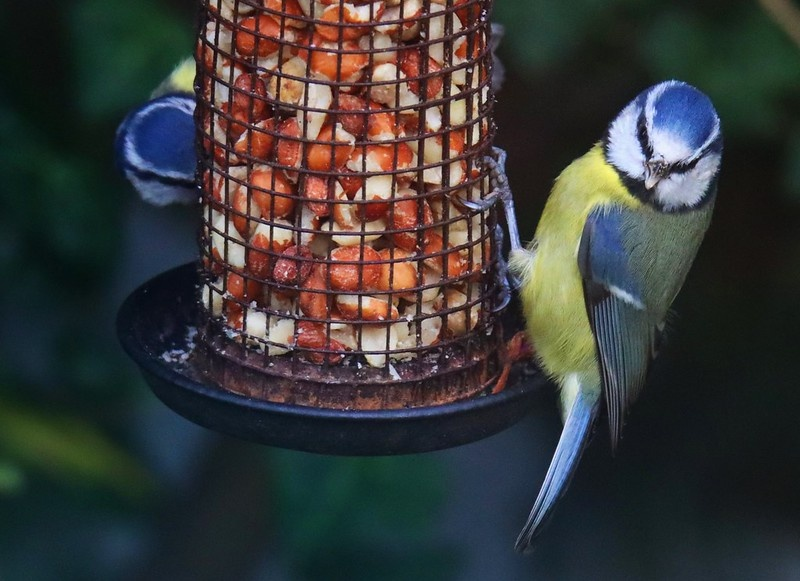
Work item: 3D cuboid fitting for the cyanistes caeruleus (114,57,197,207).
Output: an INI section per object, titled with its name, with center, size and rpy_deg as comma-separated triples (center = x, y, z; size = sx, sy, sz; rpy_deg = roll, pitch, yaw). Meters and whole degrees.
[cyanistes caeruleus]
center = -1.003, -0.669, 4.255
size = 0.403, 0.555, 0.215
rpy_deg = 10, 32, -30
